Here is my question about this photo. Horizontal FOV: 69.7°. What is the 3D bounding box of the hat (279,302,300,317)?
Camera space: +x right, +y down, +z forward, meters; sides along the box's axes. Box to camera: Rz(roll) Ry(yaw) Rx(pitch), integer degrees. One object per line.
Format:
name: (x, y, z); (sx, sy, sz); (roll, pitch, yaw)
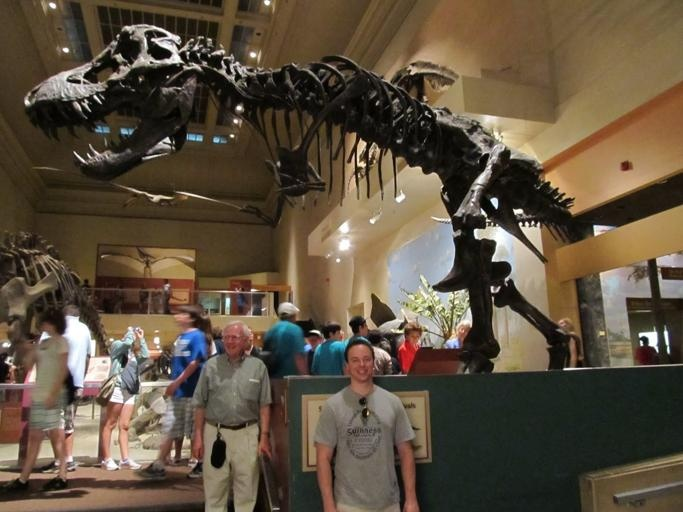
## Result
hat: (-0.541, 0.553, 4.962); (0.164, 0.136, 0.346); (-1, -12, 5)

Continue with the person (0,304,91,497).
person: (-2.732, 1.304, 4.492); (0.457, 1.623, 0.433); (0, -11, 3)

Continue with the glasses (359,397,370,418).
glasses: (0.142, 0.992, 3.174); (0.066, 0.108, 0.020); (5, -23, -30)

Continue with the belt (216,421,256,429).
belt: (-0.825, 1.333, 3.839); (0.293, 0.067, 0.047); (4, -12, -14)

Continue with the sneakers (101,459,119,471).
sneakers: (-2.444, 2.205, 5.152); (0.187, 0.082, 0.093); (7, -2, 34)

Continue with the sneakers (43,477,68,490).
sneakers: (-2.594, 2.064, 4.427); (0.161, 0.070, 0.087); (-2, -5, -6)

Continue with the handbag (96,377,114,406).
handbag: (-2.608, 1.499, 5.373); (0.153, 0.334, 0.307); (7, -13, -31)

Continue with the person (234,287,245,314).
person: (-3.474, 1.622, 16.787); (0.398, 0.799, 0.117); (7, -13, -30)

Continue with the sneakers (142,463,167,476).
sneakers: (-1.834, 2.047, 4.696); (0.249, 0.133, 0.104); (6, -10, -6)

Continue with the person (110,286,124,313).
person: (-7.452, 1.515, 16.194); (0.363, 0.823, 0.101); (4, -11, -16)

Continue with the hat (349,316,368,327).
hat: (0.174, 0.701, 5.305); (0.101, 0.130, 0.133); (-12, -23, 35)
